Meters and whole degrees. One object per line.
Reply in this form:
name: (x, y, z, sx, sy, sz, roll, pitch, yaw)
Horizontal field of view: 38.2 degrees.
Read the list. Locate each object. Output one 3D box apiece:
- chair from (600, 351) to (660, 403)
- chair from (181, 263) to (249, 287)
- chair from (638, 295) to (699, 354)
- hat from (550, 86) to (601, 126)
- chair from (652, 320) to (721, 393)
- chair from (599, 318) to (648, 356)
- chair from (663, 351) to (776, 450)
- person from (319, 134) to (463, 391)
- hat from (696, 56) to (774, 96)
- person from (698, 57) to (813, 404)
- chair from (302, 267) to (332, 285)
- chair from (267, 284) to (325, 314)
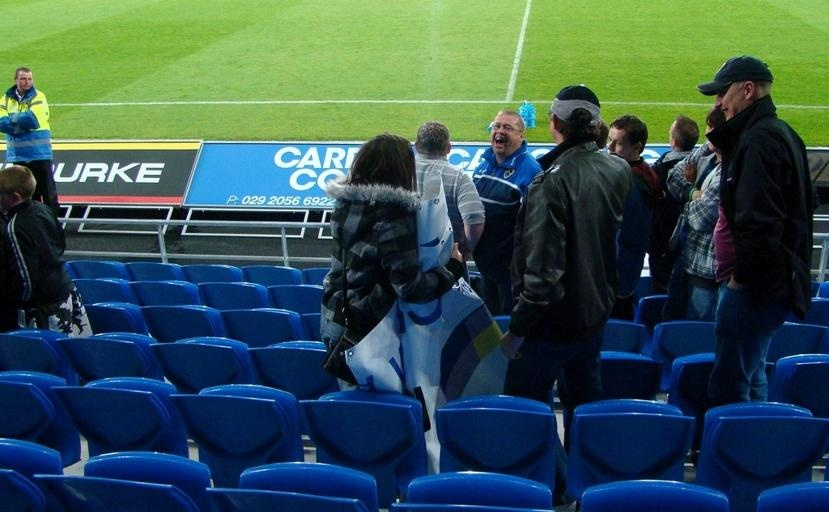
chair: (1.962, 1.088, 10.896, 0.620, 0.456, 0.499, 10, -13, -37)
chair: (-2.221, 0.202, 12.921, 0.381, 0.139, 0.293, -11, -14, 39)
chair: (2.559, 0.613, 11.796, 0.470, 0.644, 0.517, -3, 2, 0)
hat: (1.431, -1.394, 10.645, 0.457, 0.311, 0.575, 8, 14, -6)
chair: (2.476, 0.900, 11.285, 0.625, 0.719, 0.657, 1, -9, 5)
chair: (1.973, 0.741, 11.369, 0.343, 0.365, 0.371, 7, 18, 19)
chair: (2.672, 1.109, 10.358, 0.941, 0.942, 0.715, -2, 25, -16)
person: (-0.279, 0.020, 10.315, 1.074, 2.081, 0.638, -1, 18, -5)
hat: (2.971, -1.578, 10.517, 0.418, 0.291, 0.641, 8, -5, -40)
person: (2.985, -0.186, 10.397, 0.943, 3.002, 0.956, 3, 18, 7)
chair: (-1.078, 0.213, 12.907, 0.269, 0.179, 0.263, 1, -1, 1)
chair: (-1.209, 0.425, 12.118, 0.426, 0.429, 0.374, -5, 7, -23)
